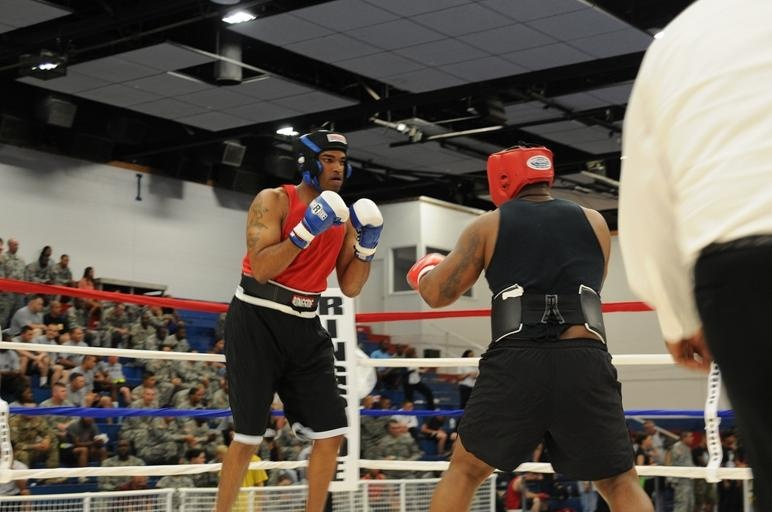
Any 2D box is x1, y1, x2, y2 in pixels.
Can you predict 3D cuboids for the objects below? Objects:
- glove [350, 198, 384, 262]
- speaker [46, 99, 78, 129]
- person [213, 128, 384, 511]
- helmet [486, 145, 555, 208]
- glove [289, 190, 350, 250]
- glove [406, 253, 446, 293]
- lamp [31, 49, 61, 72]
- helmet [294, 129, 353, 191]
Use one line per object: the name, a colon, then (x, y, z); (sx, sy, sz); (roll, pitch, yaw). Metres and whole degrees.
glove: (-0.092, -0.111, 4.269); (0.176, 0.291, 0.118); (3, 26, 2)
speaker: (-4.507, -1.992, 11.470); (0.353, 0.368, 0.226); (11, -14, -38)
person: (-0.400, 0.296, 4.084); (0.730, 1.918, 0.608); (6, -12, -18)
helmet: (0.613, -0.357, 3.708); (0.238, 0.222, 0.270); (-4, 2, -36)
glove: (-0.337, -0.175, 4.014); (0.157, 0.281, 0.164); (49, 13, 30)
glove: (0.143, 0.087, 3.809); (0.191, 0.070, 0.152); (-32, -11, 26)
lamp: (-3.922, -2.262, 9.621); (0.259, 0.158, 0.481); (10, -13, -38)
helmet: (-0.345, -0.526, 4.278); (0.273, 0.294, 0.261); (15, 21, 24)
